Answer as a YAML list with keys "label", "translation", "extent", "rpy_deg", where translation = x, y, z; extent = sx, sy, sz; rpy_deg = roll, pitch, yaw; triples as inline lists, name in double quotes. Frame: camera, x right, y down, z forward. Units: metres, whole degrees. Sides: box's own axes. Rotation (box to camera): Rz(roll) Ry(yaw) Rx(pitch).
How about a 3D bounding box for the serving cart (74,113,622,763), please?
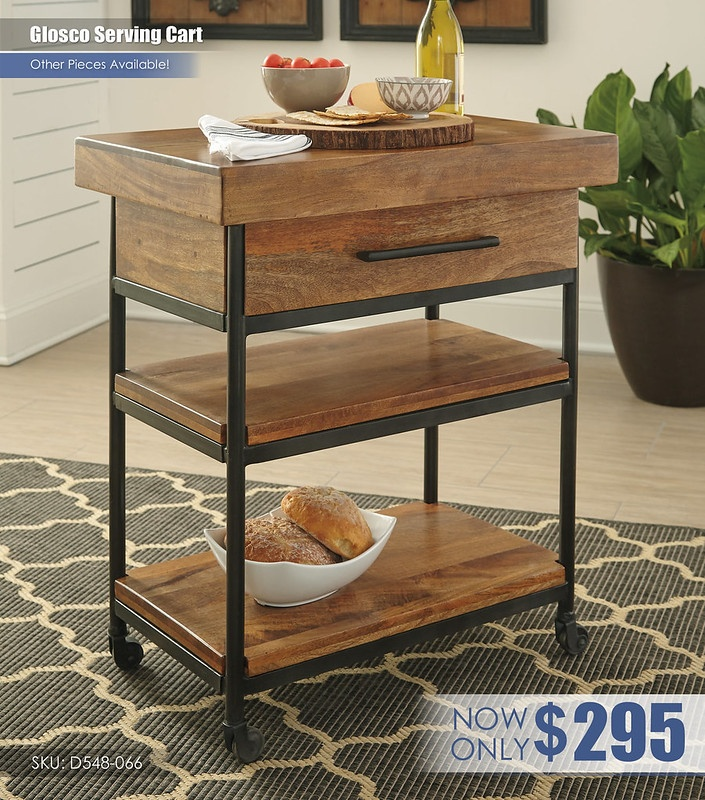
- label: "serving cart"
  translation: [-0.051, -0.003, 1.281]
  extent: [0.780, 0.724, 0.515]
  rpy_deg: [-14, 21, -39]

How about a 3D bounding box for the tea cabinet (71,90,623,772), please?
- label: "tea cabinet"
  translation: [-0.026, 0.013, 1.267]
  extent: [0.769, 0.719, 0.478]
  rpy_deg: [-13, 14, -39]

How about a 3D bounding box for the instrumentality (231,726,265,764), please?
- label: "instrumentality"
  translation: [-0.140, 0.452, 1.081]
  extent: [0.026, 0.043, 0.043]
  rpy_deg: [2, 49, 44]

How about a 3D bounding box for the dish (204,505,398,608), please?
- label: "dish"
  translation: [-0.073, 0.228, 1.226]
  extent: [0.182, 0.070, 0.231]
  rpy_deg: [2, 12, -13]
